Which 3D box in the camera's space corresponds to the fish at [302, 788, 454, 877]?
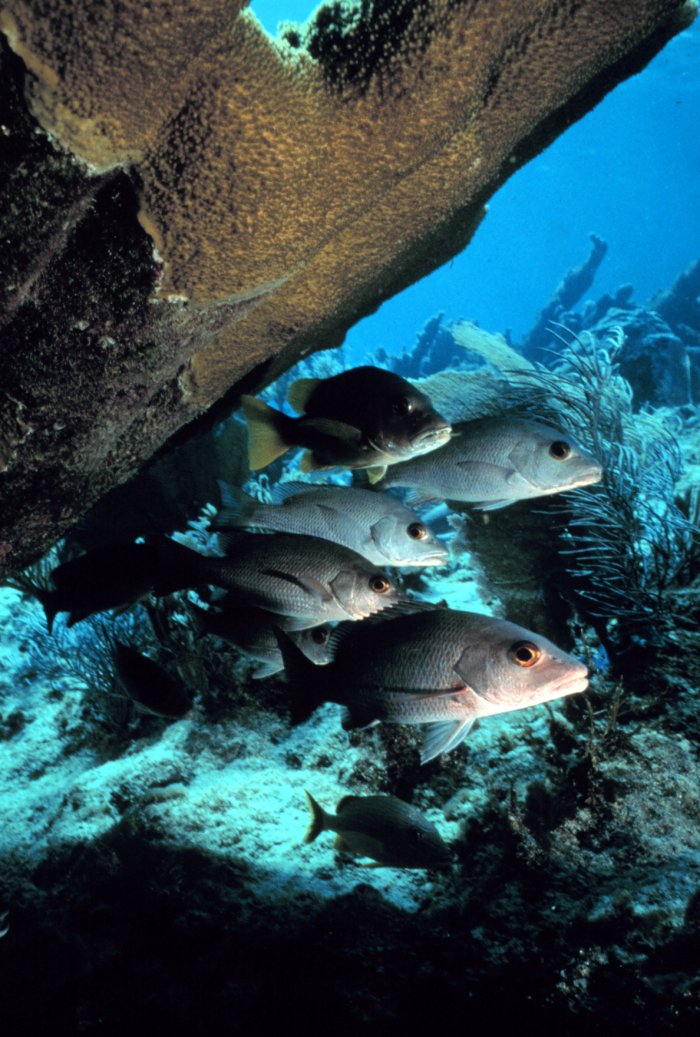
[{"bbox_3d":[0.103,1.334,3.881,0.691,0.299,0.240,0,-6,33],"label":"fish"}]
